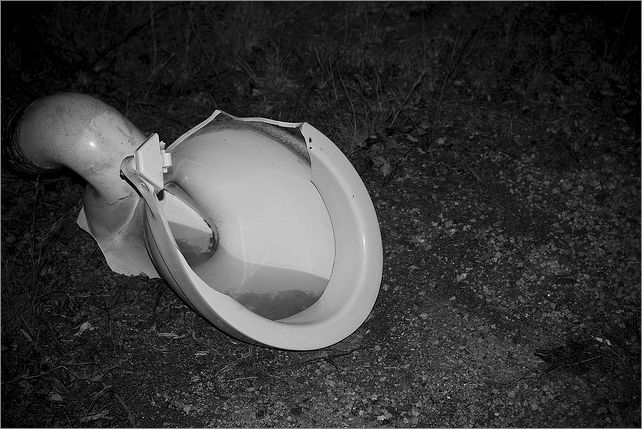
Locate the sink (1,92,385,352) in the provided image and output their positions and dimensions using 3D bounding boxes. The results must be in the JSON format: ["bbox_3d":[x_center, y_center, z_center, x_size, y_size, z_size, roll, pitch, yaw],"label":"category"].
[{"bbox_3d":[-0.536,0.027,2.782,1.679,0.732,1.001,12,80,-2],"label":"sink"}]
